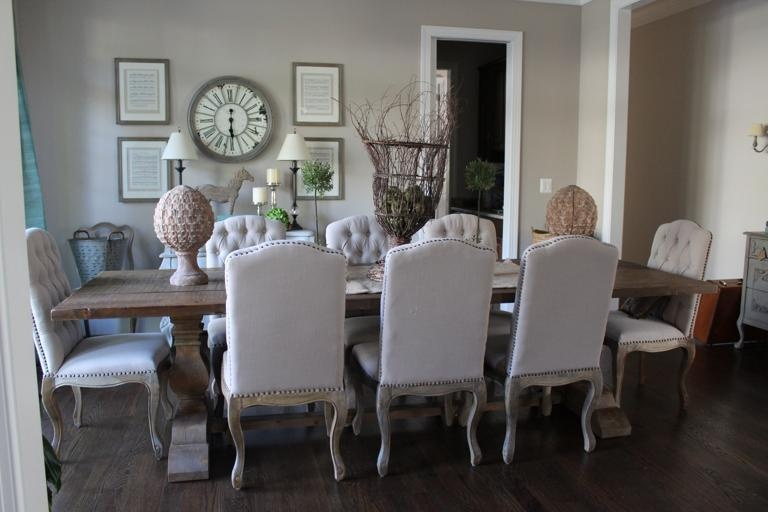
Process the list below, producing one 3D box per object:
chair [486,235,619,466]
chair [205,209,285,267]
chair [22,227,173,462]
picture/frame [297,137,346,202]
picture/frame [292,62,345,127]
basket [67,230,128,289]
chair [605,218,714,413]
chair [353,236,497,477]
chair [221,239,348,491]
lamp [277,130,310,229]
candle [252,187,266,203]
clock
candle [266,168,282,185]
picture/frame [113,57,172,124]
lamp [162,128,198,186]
[{"bbox_3d":[0.933,0.479,3.551,0.711,1.384,0.806,0,12,-2],"label":"chair"},{"bbox_3d":[-1.039,-0.131,4.362,0.490,0.744,0.399,1,1,-11],"label":"chair"},{"bbox_3d":[-1.682,0.478,3.460,0.697,1.295,0.674,-3,10,-19],"label":"chair"},{"bbox_3d":[-0.600,-0.829,5.383,0.539,0.721,0.028,-1,2,-18],"label":"picture/frame"},{"bbox_3d":[-0.630,-1.517,5.379,0.533,0.693,0.043,-1,6,-5],"label":"picture/frame"},{"bbox_3d":[-2.413,0.013,5.093,0.555,0.629,0.531,0,1,-6],"label":"basket"},{"bbox_3d":[1.782,0.345,3.994,0.673,1.244,0.666,-3,11,-5],"label":"chair"},{"bbox_3d":[0.195,0.506,3.432,0.774,1.376,0.861,1,10,1],"label":"chair"},{"bbox_3d":[-0.515,0.580,3.277,0.721,1.312,0.769,-1,3,-23],"label":"chair"},{"bbox_3d":[-0.823,-0.692,5.321,0.264,0.892,0.379,-4,13,-11],"label":"lamp"},{"bbox_3d":[-1.100,-0.538,5.132,0.127,0.160,0.136,2,5,4],"label":"candle"},{"bbox_3d":[-1.397,-1.239,5.288,0.772,0.873,0.082,-4,-8,-11],"label":"clock"},{"bbox_3d":[-0.980,-0.723,5.242,0.144,0.177,0.142,-9,15,-39],"label":"candle"},{"bbox_3d":[-2.161,-1.486,5.139,0.520,0.713,0.053,1,8,-10],"label":"picture/frame"},{"bbox_3d":[-1.779,-0.760,5.071,0.279,0.718,0.259,-6,10,-41],"label":"lamp"}]
